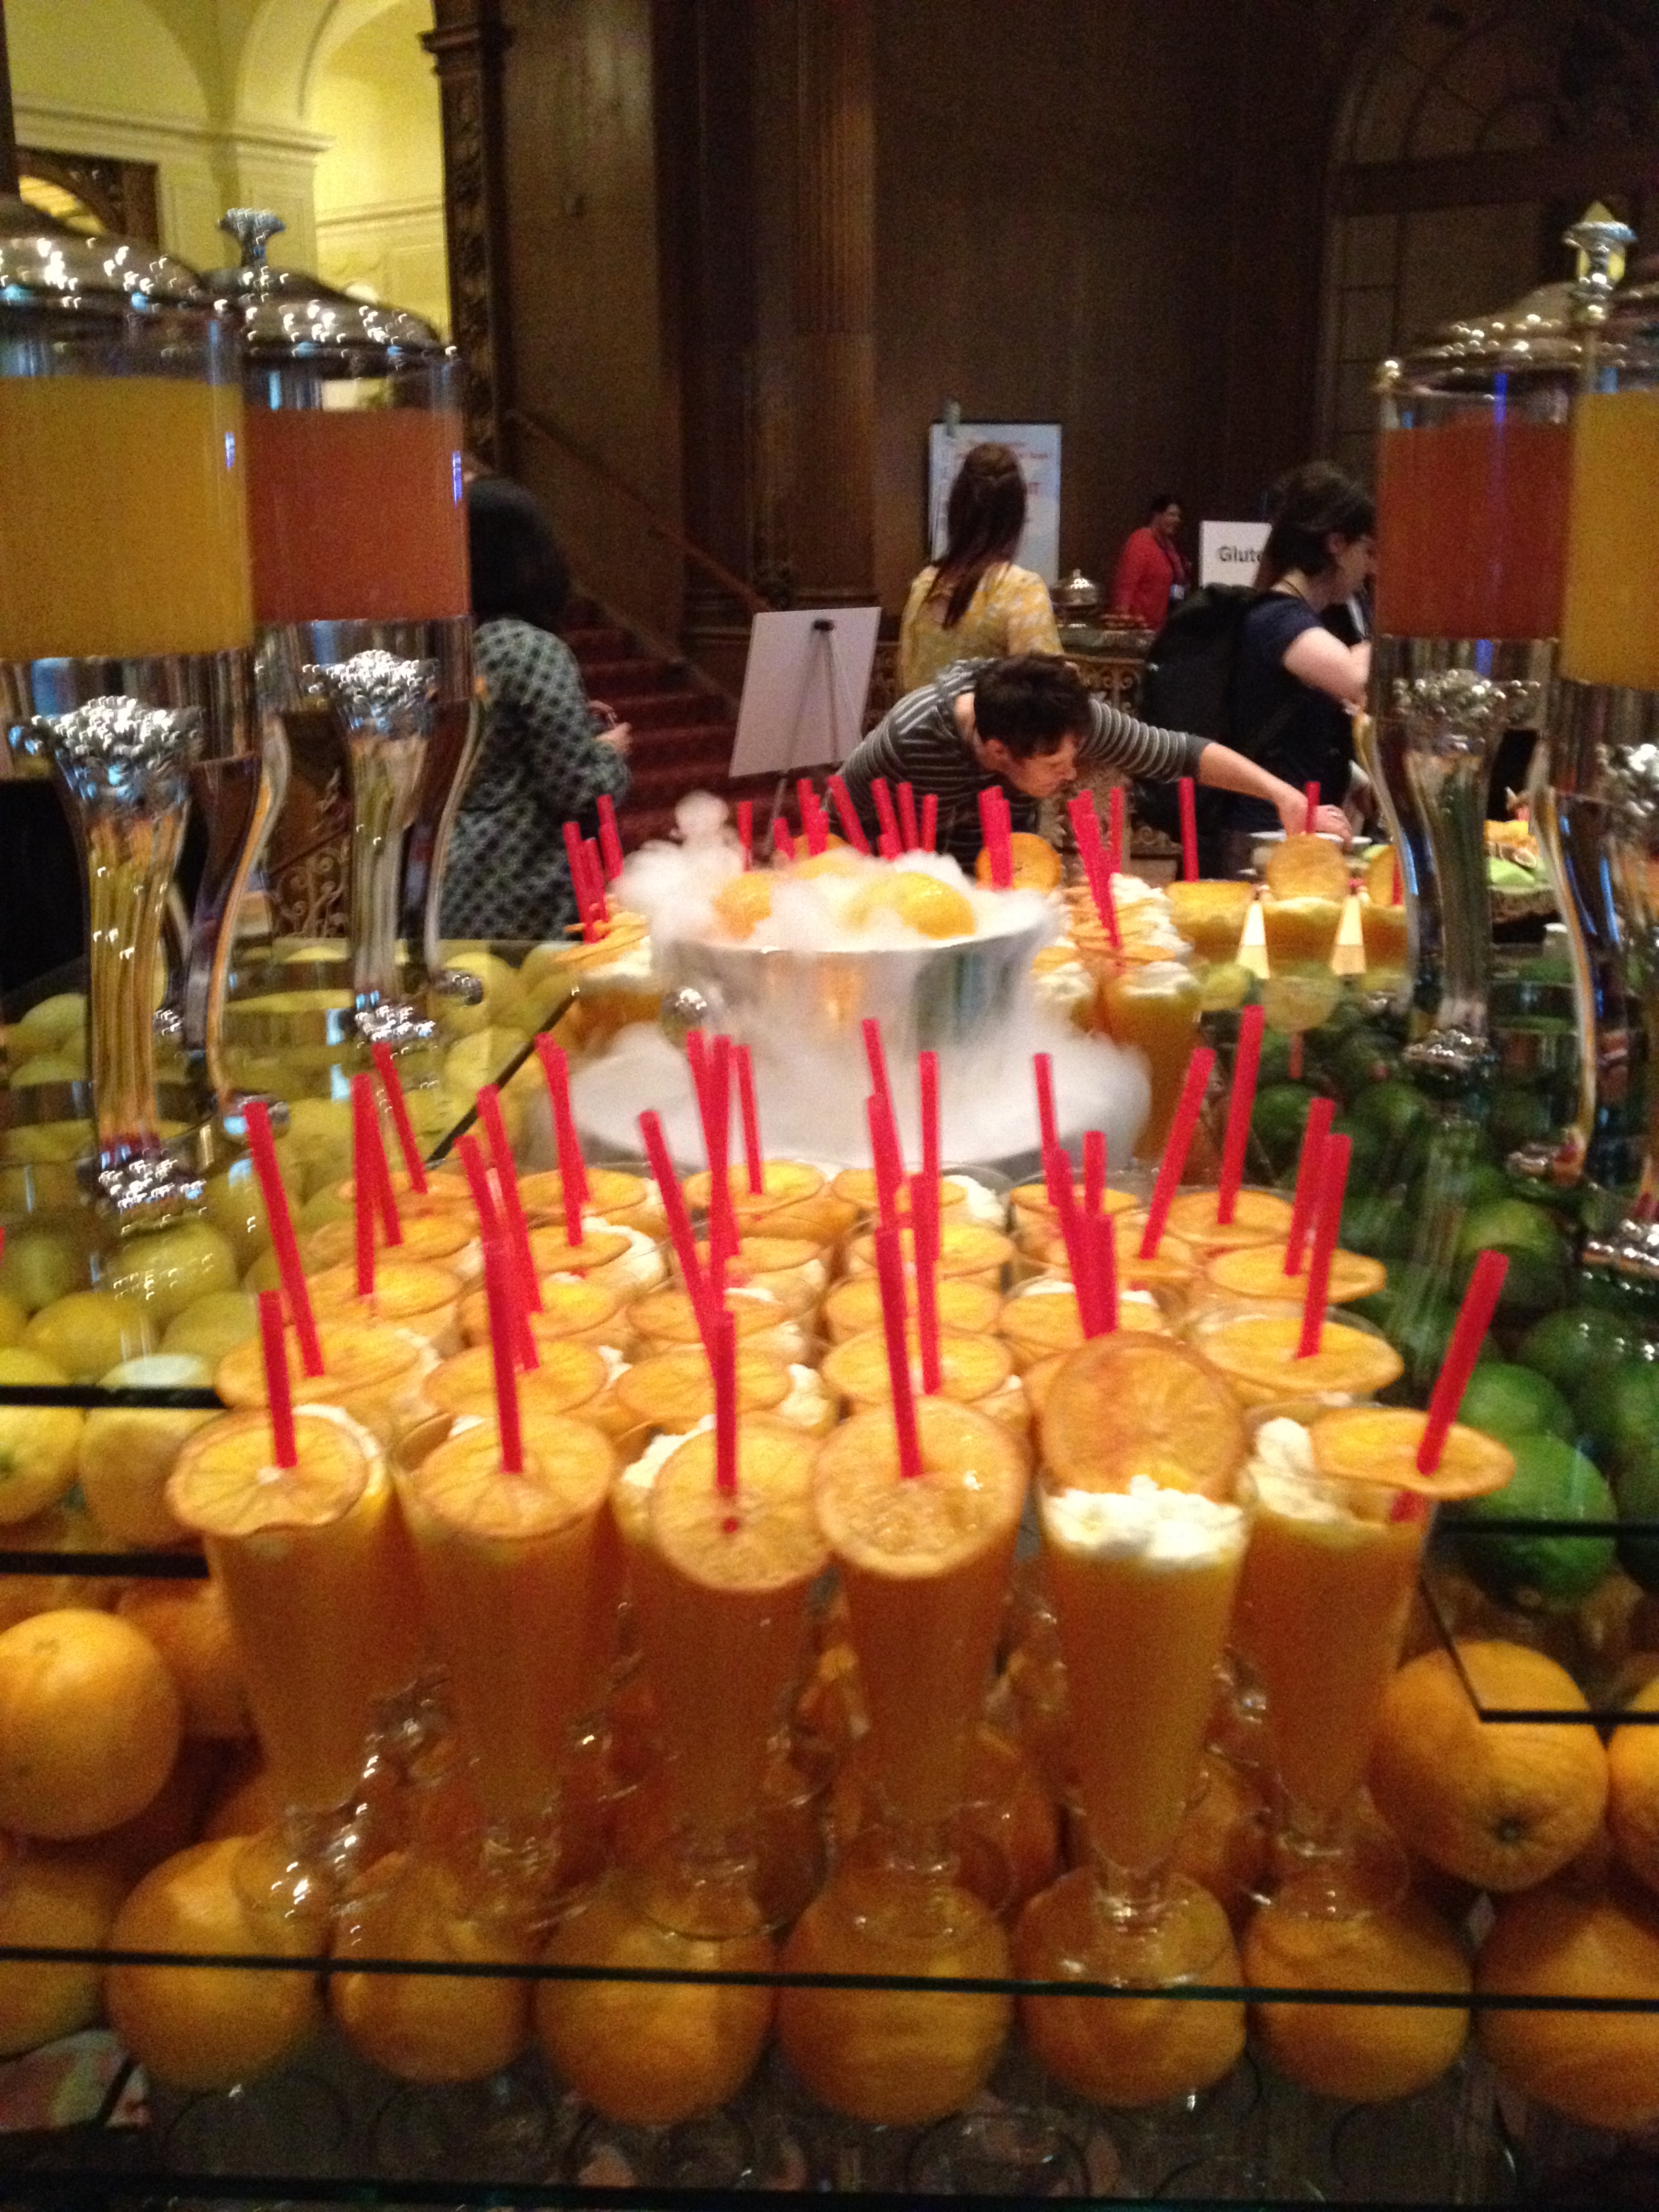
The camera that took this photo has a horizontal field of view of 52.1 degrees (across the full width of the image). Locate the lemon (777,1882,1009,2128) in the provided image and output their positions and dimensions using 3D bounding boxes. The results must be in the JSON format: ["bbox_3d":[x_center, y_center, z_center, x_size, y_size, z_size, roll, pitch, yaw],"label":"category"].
[{"bbox_3d":[0.027,0.373,0.743,0.101,0.109,0.097,1,-7,0],"label":"lemon"}]

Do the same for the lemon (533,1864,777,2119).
[{"bbox_3d":[-0.066,0.373,0.745,0.100,0.113,0.097,7,-20,2],"label":"lemon"}]

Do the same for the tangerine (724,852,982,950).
[{"bbox_3d":[0.006,-0.176,1.474,0.135,0.048,0.133,-7,10,-39],"label":"tangerine"}]

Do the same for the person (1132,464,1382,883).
[{"bbox_3d":[0.983,-0.771,3.536,0.562,1.027,0.389,3,33,25],"label":"person"}]

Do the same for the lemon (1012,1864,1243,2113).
[{"bbox_3d":[0.124,0.372,0.706,0.096,0.113,0.054,1,18,6],"label":"lemon"}]

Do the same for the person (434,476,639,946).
[{"bbox_3d":[-0.524,-0.682,2.917,0.330,0.762,0.454,-3,18,-7],"label":"person"}]

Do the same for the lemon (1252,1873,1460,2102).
[{"bbox_3d":[0.213,0.362,0.714,0.094,0.087,0.083,-14,58,6],"label":"lemon"}]

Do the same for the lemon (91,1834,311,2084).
[{"bbox_3d":[-0.271,0.382,0.739,0.076,0.095,0.086,-11,20,-30],"label":"lemon"}]
